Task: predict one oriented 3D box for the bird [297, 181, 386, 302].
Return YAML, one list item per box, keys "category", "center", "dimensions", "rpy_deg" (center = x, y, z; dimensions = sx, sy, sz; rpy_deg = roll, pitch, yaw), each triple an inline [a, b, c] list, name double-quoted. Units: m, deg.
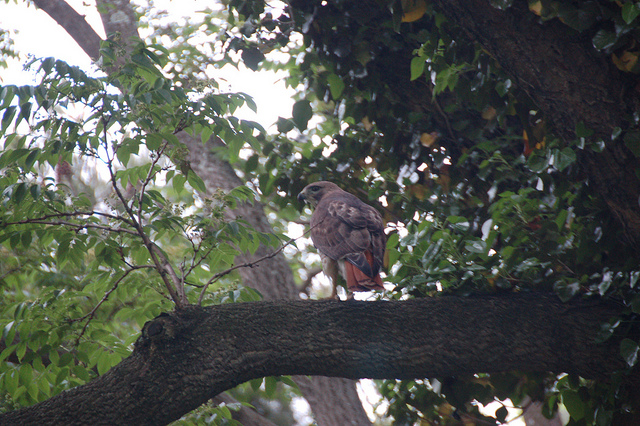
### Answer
- category: "bird"
  center: [0.235, 0.250, 11.973]
  dimensions: [0.648, 1.314, 0.585]
  rpy_deg: [8, -29, -12]
